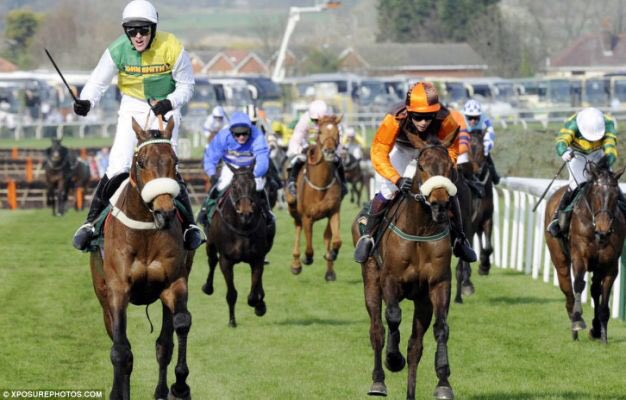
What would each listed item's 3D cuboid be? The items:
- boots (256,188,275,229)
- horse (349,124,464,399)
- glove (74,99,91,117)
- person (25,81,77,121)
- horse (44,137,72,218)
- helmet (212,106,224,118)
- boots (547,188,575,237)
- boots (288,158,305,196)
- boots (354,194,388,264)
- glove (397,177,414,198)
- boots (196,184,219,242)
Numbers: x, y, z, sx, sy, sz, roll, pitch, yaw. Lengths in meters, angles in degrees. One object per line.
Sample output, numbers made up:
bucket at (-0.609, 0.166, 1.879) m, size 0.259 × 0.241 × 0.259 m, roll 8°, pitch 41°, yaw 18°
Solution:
boots at (-0.840, 0.168, 21.822) m, size 0.150 × 0.661 × 0.370 m, roll -15°, pitch -4°, yaw -3°
horse at (1.502, 1.024, 18.850) m, size 1.147 × 4.087 × 1.482 m, roll -1°, pitch 1°, yaw -25°
glove at (-3.524, -1.409, 19.033) m, size 0.259 × 0.247 × 0.429 m, roll -1°, pitch 1°, yaw -11°
person at (-9.309, -3.459, 44.014) m, size 1.172 × 1.397 × 2.805 m, roll 0°, pitch 1°, yaw 13°
horse at (-6.668, -0.471, 32.154) m, size 0.691 × 1.920 × 2.624 m, roll -1°, pitch -11°, yaw -15°
helmet at (-2.318, -2.157, 30.627) m, size 0.222 × 0.308 × 0.106 m, roll 2°, pitch 5°, yaw 23°
boots at (4.199, 0.253, 20.892) m, size 0.303 × 0.942 × 0.234 m, roll 23°, pitch -29°, yaw 32°
boots at (-0.295, -0.405, 23.760) m, size 0.175 × 0.657 × 0.425 m, roll 18°, pitch -9°, yaw -39°
boots at (0.892, 0.445, 19.285) m, size 0.366 × 0.397 × 1.332 m, roll 20°, pitch -33°, yaw -4°
glove at (1.394, -0.212, 18.715) m, size 0.236 × 0.241 × 0.115 m, roll -1°, pitch 1°, yaw -3°
boots at (-1.827, 0.159, 21.792) m, size 0.294 × 1.183 × 0.643 m, roll 16°, pitch -49°, yaw -16°
